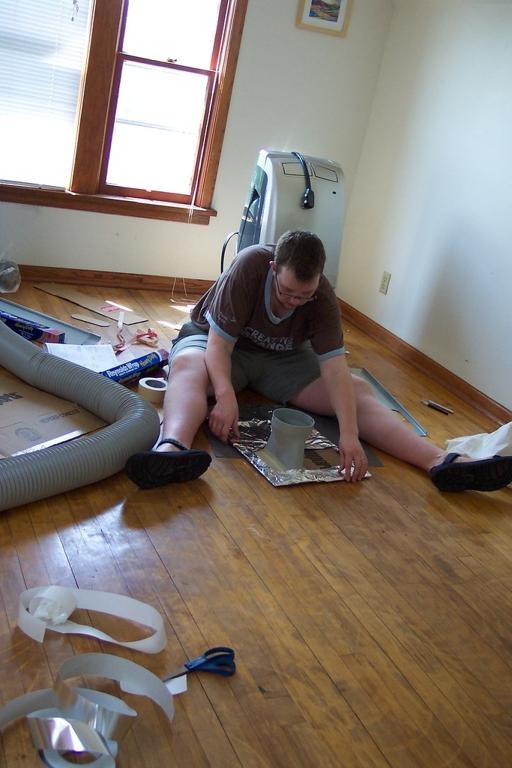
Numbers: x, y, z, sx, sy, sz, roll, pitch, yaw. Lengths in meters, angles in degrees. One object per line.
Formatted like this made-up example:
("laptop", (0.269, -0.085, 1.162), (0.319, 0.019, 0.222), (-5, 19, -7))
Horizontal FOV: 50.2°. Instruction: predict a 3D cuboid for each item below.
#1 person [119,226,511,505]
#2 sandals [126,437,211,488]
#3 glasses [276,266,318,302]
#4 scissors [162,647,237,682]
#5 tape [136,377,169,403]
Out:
("person", (0.185, -0.111, 1.845), (1.069, 0.749, 0.920), (9, 18, -12))
("sandals", (-0.228, 0.215, 1.476), (0.222, 0.108, 0.106), (-1, 29, -31))
("glasses", (0.106, -0.298, 1.676), (0.097, 0.118, 0.118), (4, 34, -19))
("scissors", (-0.090, 0.505, 0.976), (0.109, 0.019, 0.043), (-7, 36, -28))
("tape", (-0.389, 0.011, 2.023), (0.103, 0.064, 0.103), (-3, 31, -38))
